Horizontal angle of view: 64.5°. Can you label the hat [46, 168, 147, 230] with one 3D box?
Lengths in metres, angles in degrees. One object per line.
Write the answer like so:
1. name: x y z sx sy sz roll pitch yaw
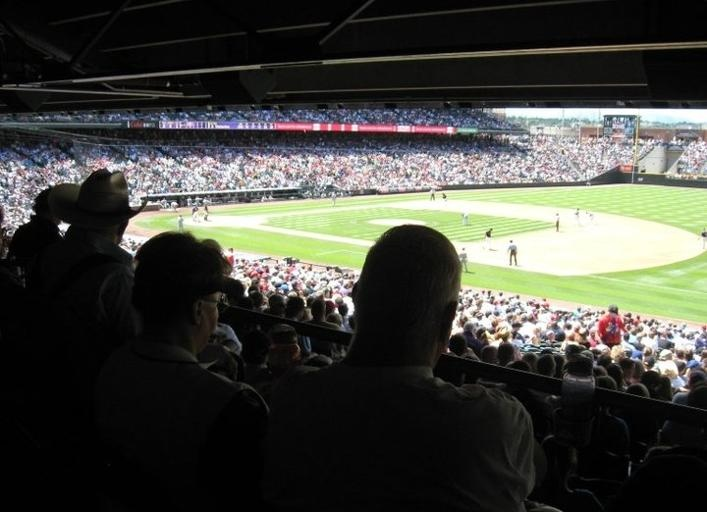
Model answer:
1. hat: -1.608 -0.351 3.659 0.509 0.193 0.541 14 24 3
